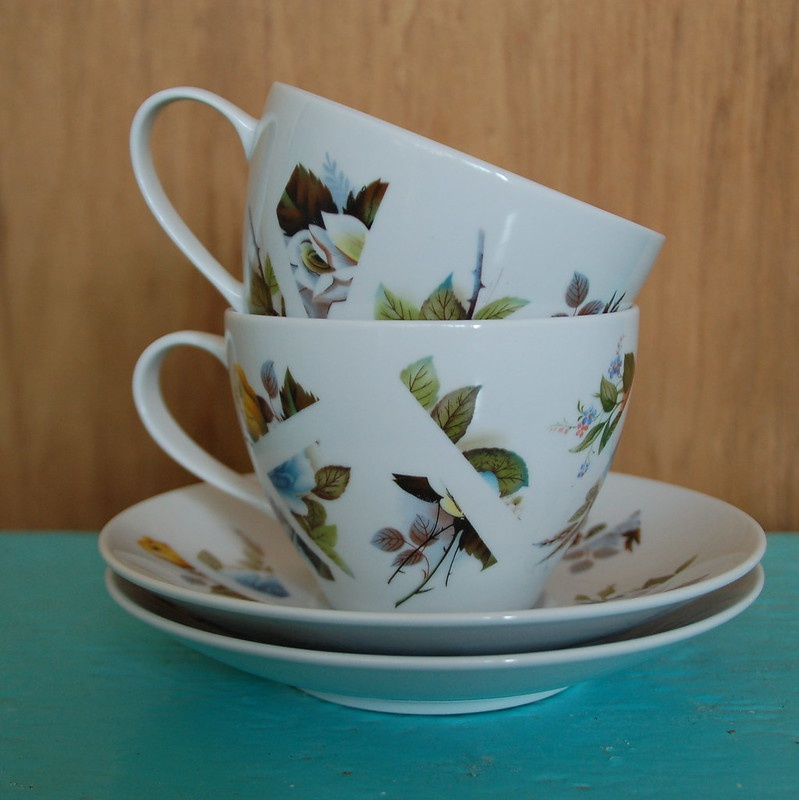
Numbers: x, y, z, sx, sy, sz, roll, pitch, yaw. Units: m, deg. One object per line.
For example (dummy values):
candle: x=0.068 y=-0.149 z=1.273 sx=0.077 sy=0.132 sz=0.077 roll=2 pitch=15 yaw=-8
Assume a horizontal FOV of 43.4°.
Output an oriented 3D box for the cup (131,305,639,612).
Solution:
cup: x=0.006 y=0.025 z=0.490 sx=0.189 sy=0.123 sz=0.157 roll=0 pitch=1 yaw=11
